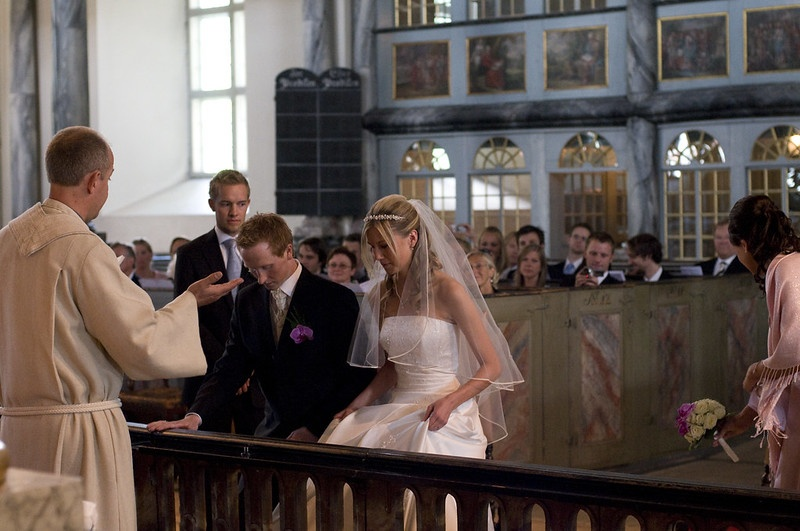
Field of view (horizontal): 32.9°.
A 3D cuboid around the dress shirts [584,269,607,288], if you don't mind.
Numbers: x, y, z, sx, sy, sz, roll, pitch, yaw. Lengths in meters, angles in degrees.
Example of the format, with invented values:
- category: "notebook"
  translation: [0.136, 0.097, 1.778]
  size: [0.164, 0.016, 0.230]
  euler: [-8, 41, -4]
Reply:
- category: "dress shirts"
  translation: [2.004, 0.112, 13.794]
  size: [0.159, 0.101, 0.238]
  euler: [8, 5, 0]

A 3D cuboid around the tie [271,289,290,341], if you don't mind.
- category: "tie"
  translation: [-0.981, 0.380, 10.813]
  size: [0.172, 0.583, 0.048]
  euler: [-1, -33, -3]

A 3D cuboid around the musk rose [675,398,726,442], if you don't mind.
- category: "musk rose"
  translation: [2.402, 1.243, 10.687]
  size: [0.328, 0.354, 0.324]
  euler: [2, 8, 28]

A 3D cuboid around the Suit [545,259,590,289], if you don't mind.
- category: "Suit"
  translation: [1.865, 0.041, 15.152]
  size: [0.478, 0.506, 0.264]
  euler: [-5, -11, 41]

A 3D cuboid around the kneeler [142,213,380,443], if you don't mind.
- category: "kneeler"
  translation: [-1.144, 1.056, 10.956]
  size: [1.691, 2.896, 0.893]
  euler: [-2, 8, -16]

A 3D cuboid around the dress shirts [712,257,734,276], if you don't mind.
- category: "dress shirts"
  translation: [3.736, 0.037, 15.520]
  size: [0.077, 0.291, 0.279]
  euler: [18, -21, -26]

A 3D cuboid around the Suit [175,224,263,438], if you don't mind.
- category: "Suit"
  translation: [-1.518, 0.482, 11.290]
  size: [0.566, 1.975, 0.590]
  euler: [-2, 9, -26]

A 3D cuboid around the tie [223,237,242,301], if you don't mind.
- category: "tie"
  translation: [-1.420, 0.001, 11.401]
  size: [0.241, 0.450, 0.100]
  euler: [-4, 0, 1]

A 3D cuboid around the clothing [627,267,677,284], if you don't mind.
- category: "clothing"
  translation: [2.684, 0.110, 14.367]
  size: [0.269, 0.153, 0.362]
  euler: [2, -5, -43]

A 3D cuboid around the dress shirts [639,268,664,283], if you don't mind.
- category: "dress shirts"
  translation: [2.708, 0.124, 14.319]
  size: [0.185, 0.186, 0.230]
  euler: [-3, -21, -4]

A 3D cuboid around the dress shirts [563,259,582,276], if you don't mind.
- category: "dress shirts"
  translation: [1.917, 0.013, 14.956]
  size: [0.134, 0.201, 0.082]
  euler: [0, -18, 24]
